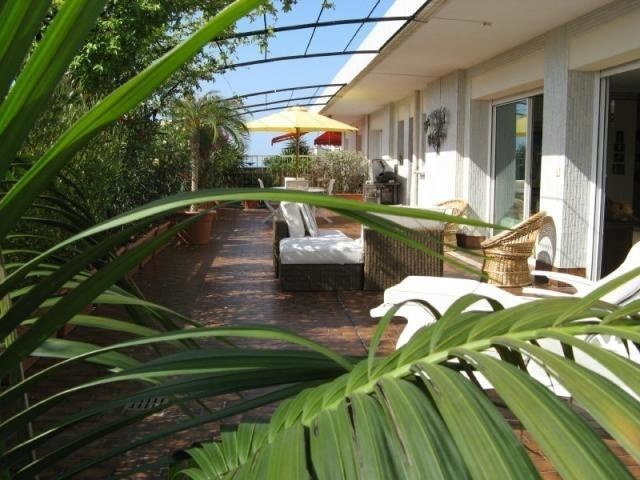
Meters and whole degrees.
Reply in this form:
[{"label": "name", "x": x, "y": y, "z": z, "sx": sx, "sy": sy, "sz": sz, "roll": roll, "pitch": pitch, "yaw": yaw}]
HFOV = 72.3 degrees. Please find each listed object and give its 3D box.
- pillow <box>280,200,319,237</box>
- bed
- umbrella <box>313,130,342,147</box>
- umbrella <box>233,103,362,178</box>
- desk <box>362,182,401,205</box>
[{"label": "pillow", "x": -0.284, "y": -0.293, "z": 6.062, "sx": 0.558, "sy": 0.461, "sz": 0.197, "roll": 0, "pitch": 17, "yaw": 10}, {"label": "bed", "x": -0.062, "y": 0.193, "z": 5.986, "sx": 1.308, "sy": 0.754, "sz": 1.799, "roll": -1, "pitch": 6, "yaw": -6}, {"label": "umbrella", "x": 0.426, "y": -5.836, "z": 25.520, "sx": 1.208, "sy": 0.651, "sz": 1.048, "roll": -1, "pitch": 10, "yaw": 0}, {"label": "umbrella", "x": -0.706, "y": -2.764, "z": 12.649, "sx": 3.369, "sy": 1.981, "sz": 3.240, "roll": -2, "pitch": 15, "yaw": -10}, {"label": "desk", "x": 1.947, "y": -1.438, "z": 13.476, "sx": 1.001, "sy": 0.744, "sz": 1.677, "roll": -1, "pitch": 13, "yaw": -8}]
